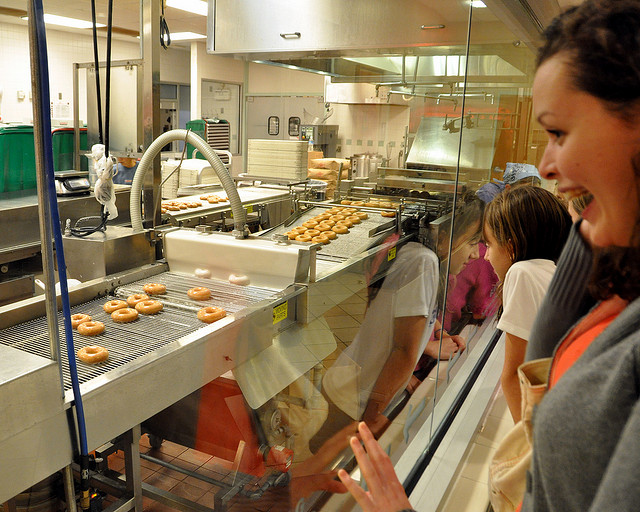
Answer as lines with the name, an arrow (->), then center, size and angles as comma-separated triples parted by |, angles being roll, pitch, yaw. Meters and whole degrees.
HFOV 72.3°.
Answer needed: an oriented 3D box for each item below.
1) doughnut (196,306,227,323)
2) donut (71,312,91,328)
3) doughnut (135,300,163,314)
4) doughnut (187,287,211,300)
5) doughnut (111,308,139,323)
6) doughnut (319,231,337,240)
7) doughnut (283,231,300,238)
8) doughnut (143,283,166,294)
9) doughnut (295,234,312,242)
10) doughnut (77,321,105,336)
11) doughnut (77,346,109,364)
doughnut -> -0.354, 0.189, 1.415 | 0.088, 0.026, 0.115 | -10, 17, -38
donut -> -0.713, 0.195, 1.302 | 0.068, 0.026, 0.068 | 1, 10, -4
doughnut -> -0.578, 0.174, 1.469 | 0.071, 0.030, 0.073 | 4, 14, 14
doughnut -> -0.447, 0.135, 1.611 | 0.079, 0.029, 0.098 | -5, 15, -23
doughnut -> -0.622, 0.190, 1.409 | 0.075, 0.027, 0.085 | 7, 15, 25
doughnut -> 0.050, -0.120, 2.449 | 0.053, 0.021, 0.055 | 7, 16, 33
doughnut -> -0.170, -0.124, 2.523 | 0.057, 0.022, 0.058 | 3, 12, 20
doughnut -> -0.612, 0.123, 1.631 | 0.077, 0.029, 0.083 | 3, 14, 10
doughnut -> -0.092, -0.100, 2.420 | 0.058, 0.022, 0.059 | 2, 11, 16
doughnut -> -0.681, 0.215, 1.296 | 0.066, 0.027, 0.080 | -10, 17, -38
doughnut -> -0.589, 0.255, 1.130 | 0.088, 0.024, 0.062 | 13, 18, 42
